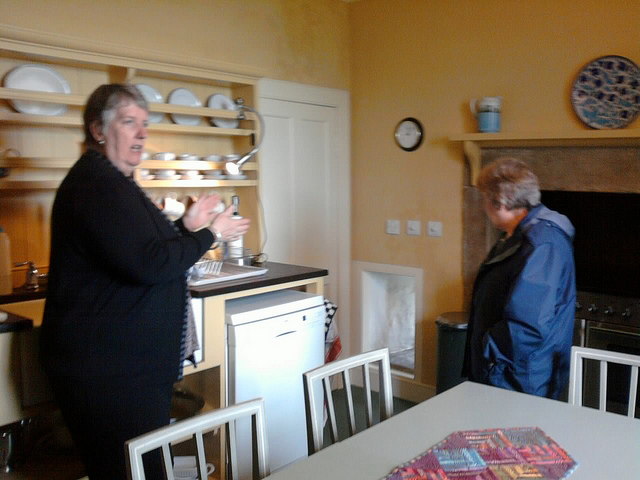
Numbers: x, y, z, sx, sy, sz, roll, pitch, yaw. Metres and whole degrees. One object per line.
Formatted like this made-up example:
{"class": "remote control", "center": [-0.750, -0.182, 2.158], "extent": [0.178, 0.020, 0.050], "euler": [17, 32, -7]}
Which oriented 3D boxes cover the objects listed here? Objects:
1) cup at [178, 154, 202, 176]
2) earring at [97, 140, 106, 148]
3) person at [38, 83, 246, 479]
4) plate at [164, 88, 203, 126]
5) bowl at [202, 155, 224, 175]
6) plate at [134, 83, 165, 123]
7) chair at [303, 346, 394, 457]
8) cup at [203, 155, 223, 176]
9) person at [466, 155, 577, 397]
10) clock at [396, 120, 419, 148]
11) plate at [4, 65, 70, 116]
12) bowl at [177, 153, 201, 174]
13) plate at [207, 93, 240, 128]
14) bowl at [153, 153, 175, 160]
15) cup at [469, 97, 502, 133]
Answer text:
{"class": "cup", "center": [-0.835, -0.474, 3.348], "extent": [0.137, 0.130, 0.142], "euler": [1, 6, 0]}
{"class": "earring", "center": [-0.867, -0.383, 2.070], "extent": [0.025, 0.009, 0.027], "euler": [0, 18, -3]}
{"class": "person", "center": [-0.758, 0.143, 2.119], "extent": [0.401, 1.493, 0.670], "euler": [12, 17, 36]}
{"class": "plate", "center": [-0.877, -0.877, 3.423], "extent": [0.290, 0.233, 0.108], "euler": [-10, 18, -41]}
{"class": "bowl", "center": [-0.696, -0.486, 3.396], "extent": [0.119, 0.092, 0.112], "euler": [0, 1, 0]}
{"class": "plate", "center": [-1.036, -0.837, 3.191], "extent": [0.153, 0.237, 0.320], "euler": [-2, 15, -17]}
{"class": "chair", "center": [0.109, 0.611, 1.970], "extent": [0.211, 0.319, 0.443], "euler": [14, 18, 40]}
{"class": "cup", "center": [-0.699, -0.490, 3.395], "extent": [0.115, 0.101, 0.120], "euler": [1, 11, 0]}
{"class": "person", "center": [0.914, 0.175, 2.371], "extent": [0.492, 1.026, 0.418], "euler": [10, 16, 28]}
{"class": "clock", "center": [0.680, -0.829, 4.052], "extent": [0.188, 0.205, 0.019], "euler": [13, 18, 37]}
{"class": "plate", "center": [-1.533, -0.819, 2.831], "extent": [0.314, 0.259, 0.122], "euler": [-7, 16, -33]}
{"class": "bowl", "center": [-0.840, -0.483, 3.327], "extent": [0.125, 0.100, 0.114], "euler": [-1, 2, 0]}
{"class": "plate", "center": [-0.661, -0.891, 3.582], "extent": [0.216, 0.221, 0.119], "euler": [-8, 17, -36]}
{"class": "bowl", "center": [-0.960, -0.514, 3.207], "extent": [0.054, 0.033, 0.069], "euler": [-1, -4, 4]}
{"class": "cup", "center": [1.141, -0.846, 3.534], "extent": [0.266, 0.294, 0.173], "euler": [0, 8, 5]}
